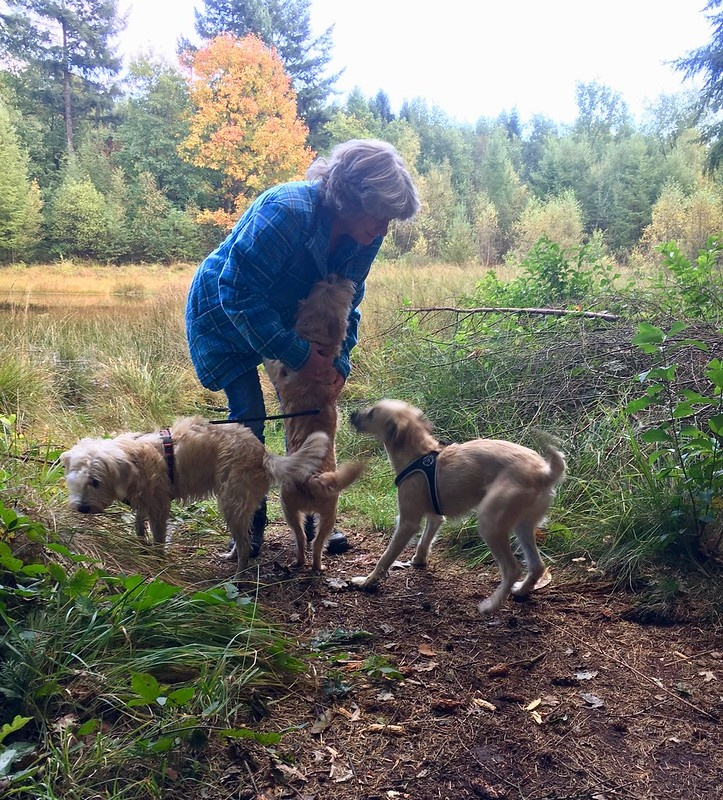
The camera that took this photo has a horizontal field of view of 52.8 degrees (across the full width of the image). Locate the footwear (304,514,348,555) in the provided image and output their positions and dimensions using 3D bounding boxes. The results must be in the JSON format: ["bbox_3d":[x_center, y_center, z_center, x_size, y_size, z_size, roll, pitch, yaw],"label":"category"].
[{"bbox_3d":[-0.243,0.870,4.664,0.224,0.352,0.113,-31,-17,34],"label":"footwear"}]

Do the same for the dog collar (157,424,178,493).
[{"bbox_3d":[-1.087,0.332,4.080,0.099,0.253,0.213,-9,11,-27],"label":"dog collar"}]

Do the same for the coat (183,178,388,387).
[{"bbox_3d":[-0.438,-0.695,4.496,1.418,1.093,1.039,-5,-4,31],"label":"coat"}]
